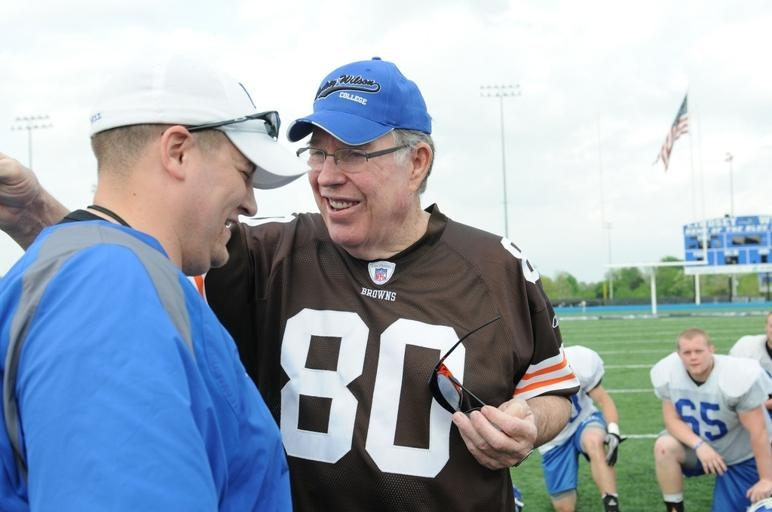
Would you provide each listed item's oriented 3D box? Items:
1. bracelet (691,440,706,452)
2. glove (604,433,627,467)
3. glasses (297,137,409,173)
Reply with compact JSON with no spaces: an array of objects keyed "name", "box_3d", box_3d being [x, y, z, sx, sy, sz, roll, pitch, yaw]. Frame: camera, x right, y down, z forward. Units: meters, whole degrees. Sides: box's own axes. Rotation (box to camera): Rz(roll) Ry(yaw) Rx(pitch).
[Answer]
[{"name":"bracelet","box_3d":[2.239,1.348,6.780,0.018,0.080,0.077,18,-9,43]},{"name":"glove","box_3d":[1.609,1.368,6.735,0.064,0.260,0.239,3,6,8]},{"name":"glasses","box_3d":[-0.166,-0.466,4.455,0.527,0.114,0.149,-4,-2,8]}]
